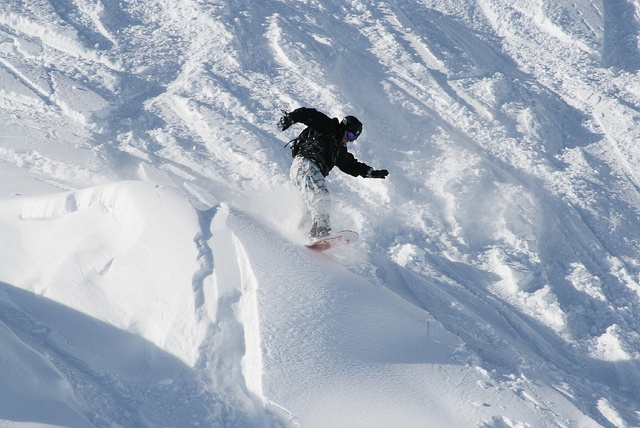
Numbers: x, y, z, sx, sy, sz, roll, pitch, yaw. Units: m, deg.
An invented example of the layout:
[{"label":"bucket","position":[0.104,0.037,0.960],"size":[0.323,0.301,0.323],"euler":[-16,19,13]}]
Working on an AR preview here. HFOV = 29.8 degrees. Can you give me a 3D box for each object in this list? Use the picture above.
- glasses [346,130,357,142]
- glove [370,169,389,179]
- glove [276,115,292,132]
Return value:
[{"label":"glasses","position":[0.829,-2.024,31.033],"size":[0.231,0.140,0.285],"euler":[20,12,-26]},{"label":"glove","position":[1.640,-1.045,30.981],"size":[0.616,0.161,0.388],"euler":[4,9,12]},{"label":"glove","position":[-0.829,-2.302,30.173],"size":[0.314,0.460,0.225],"euler":[38,12,-11]}]
